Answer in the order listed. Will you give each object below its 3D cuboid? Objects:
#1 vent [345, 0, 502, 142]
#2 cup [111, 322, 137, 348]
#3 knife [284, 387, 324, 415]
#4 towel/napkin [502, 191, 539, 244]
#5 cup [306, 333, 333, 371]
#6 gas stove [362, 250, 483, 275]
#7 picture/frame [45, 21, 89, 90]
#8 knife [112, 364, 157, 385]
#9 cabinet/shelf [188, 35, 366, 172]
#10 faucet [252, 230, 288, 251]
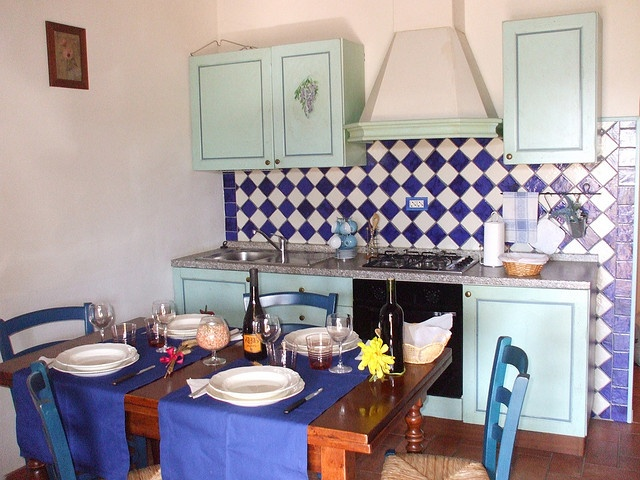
[{"bbox_3d":[0.764,-1.027,3.752,0.889,1.064,0.930,0,0,21],"label":"vent"},{"bbox_3d":[-0.946,0.450,2.523,0.103,0.127,0.114,0,-5,-15],"label":"cup"},{"bbox_3d":[-0.043,0.547,1.907,0.041,0.030,0.327,0,6,25],"label":"knife"},{"bbox_3d":[1.371,-0.168,3.562,0.318,0.506,0.021,1,7,21],"label":"towel/napkin"},{"bbox_3d":[-0.005,0.470,2.221,0.119,0.115,0.109,-2,3,0],"label":"cup"},{"bbox_3d":[0.678,0.147,3.547,0.743,0.059,0.595,2,13,18],"label":"gas stove"},{"bbox_3d":[-1.548,-1.118,3.193,0.056,0.376,0.291,5,15,29],"label":"picture/frame"},{"bbox_3d":[-0.760,0.545,2.128,0.040,0.021,0.295,3,5,19],"label":"knife"},{"bbox_3d":[-0.291,-0.960,3.767,0.925,0.701,0.341,1,3,23],"label":"cabinet/shelf"},{"bbox_3d":[-0.409,-0.008,4.202,0.191,0.186,0.408,-6,14,-18],"label":"faucet"}]
